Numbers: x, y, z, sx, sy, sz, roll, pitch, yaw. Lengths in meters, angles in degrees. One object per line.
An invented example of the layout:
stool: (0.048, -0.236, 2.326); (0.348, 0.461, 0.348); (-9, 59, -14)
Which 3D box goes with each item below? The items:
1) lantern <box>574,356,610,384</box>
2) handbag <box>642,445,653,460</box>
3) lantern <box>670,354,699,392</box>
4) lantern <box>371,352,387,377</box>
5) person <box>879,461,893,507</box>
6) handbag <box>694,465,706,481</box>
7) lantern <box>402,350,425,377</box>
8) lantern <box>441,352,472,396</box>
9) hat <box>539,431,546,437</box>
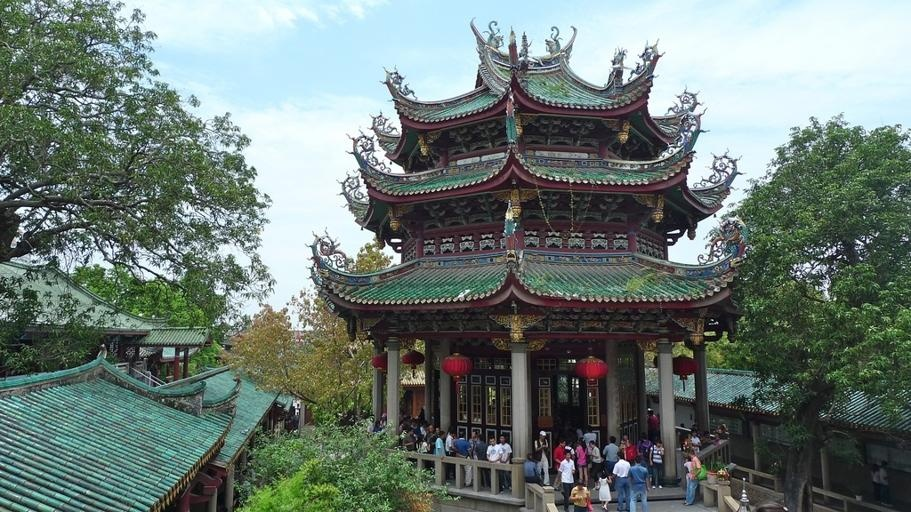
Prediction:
lantern: (5.858, 4.962, 33.539); (1.193, 1.015, 1.258); (-10, -14, 36)
handbag: (8.225, 8.491, 33.156); (0.591, 0.705, 0.420); (0, -9, 21)
lantern: (10.442, 5.315, 35.457); (1.352, 1.466, 1.301); (-1, -1, 21)
lantern: (-3.504, 5.027, 36.214); (1.088, 0.937, 0.993); (3, -8, 2)
person: (19.974, 10.613, 36.046); (0.413, 1.967, 0.828); (-5, -19, 27)
handbag: (10.013, 8.964, 31.823); (0.605, 0.732, 0.763); (-5, -24, 14)
lantern: (-2.042, 4.851, 36.979); (0.919, 0.718, 1.273); (1, -16, 4)
lantern: (0.071, 5.107, 34.057); (1.390, 1.542, 1.394); (-8, -11, 40)
hat: (3.589, 7.383, 32.104); (0.325, 0.224, 0.457); (0, -19, 1)
